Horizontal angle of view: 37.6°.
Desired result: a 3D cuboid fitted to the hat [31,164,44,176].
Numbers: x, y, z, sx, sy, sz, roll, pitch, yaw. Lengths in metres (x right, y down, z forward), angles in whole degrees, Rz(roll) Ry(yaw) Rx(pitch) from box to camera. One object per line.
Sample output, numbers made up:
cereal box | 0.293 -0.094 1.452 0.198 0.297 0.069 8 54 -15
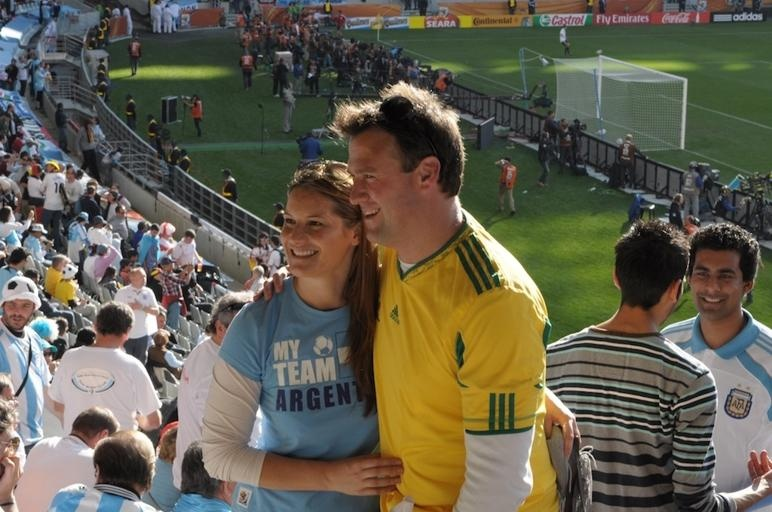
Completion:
hat | -8.760 -2.095 28.734 0.286 0.279 0.209 -6 12 -24
